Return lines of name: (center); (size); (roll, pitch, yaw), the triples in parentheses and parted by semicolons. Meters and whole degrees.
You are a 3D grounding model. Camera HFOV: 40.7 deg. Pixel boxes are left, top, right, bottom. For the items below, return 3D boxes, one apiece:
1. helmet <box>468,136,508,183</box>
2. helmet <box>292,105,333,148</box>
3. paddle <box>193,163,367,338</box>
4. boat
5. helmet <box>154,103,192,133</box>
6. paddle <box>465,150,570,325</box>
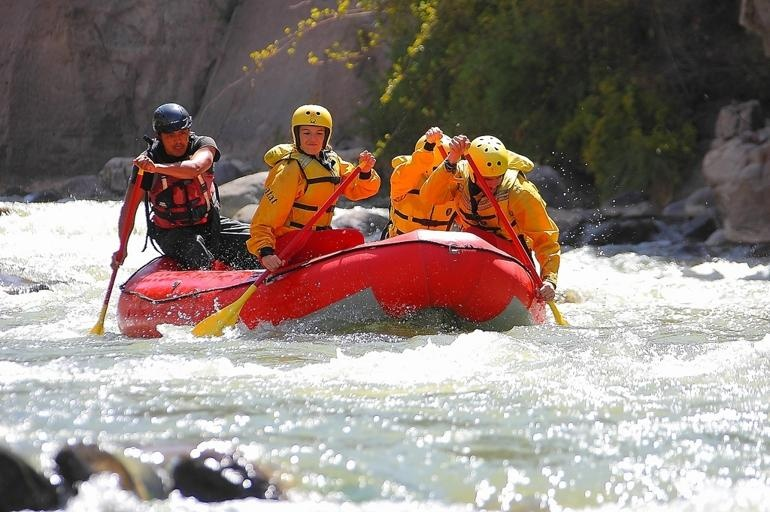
helmet: (1.090, -1.077, 11.301); (0.424, 0.444, 0.555); (-12, 26, -17)
helmet: (-0.778, -1.490, 11.501); (0.433, 0.406, 0.534); (2, -6, -8)
paddle: (-0.991, 0.175, 11.256); (2.236, 0.136, 0.300); (-28, 22, -24)
boat: (-0.605, 0.353, 10.995); (3.147, 0.616, 1.850); (-6, -7, 28)
helmet: (-2.403, -1.557, 11.734); (0.310, 0.301, 0.406); (-14, 27, -6)
paddle: (1.471, -0.138, 11.573); (0.301, 2.723, 0.320); (-29, -6, -1)
